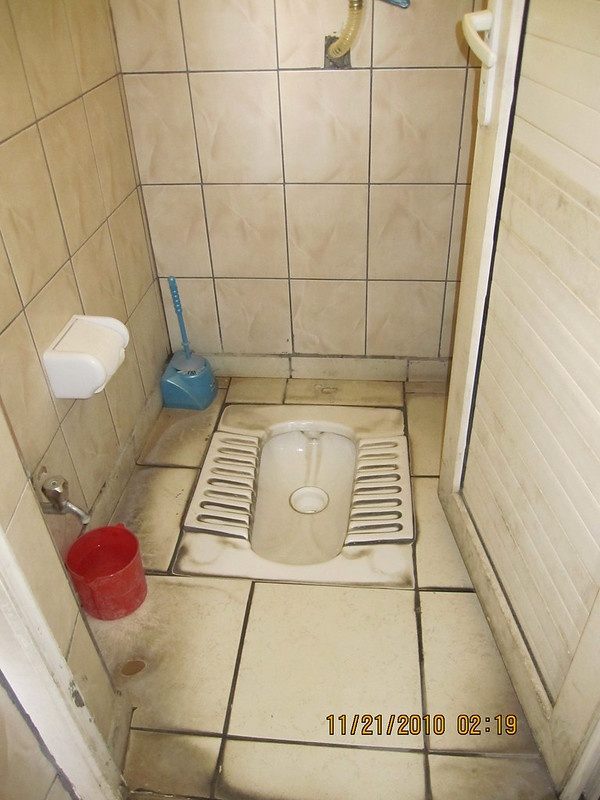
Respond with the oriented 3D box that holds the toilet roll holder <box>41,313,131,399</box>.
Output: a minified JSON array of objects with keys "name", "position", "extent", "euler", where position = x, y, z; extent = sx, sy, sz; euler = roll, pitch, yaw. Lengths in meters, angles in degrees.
[{"name":"toilet roll holder","position":[-0.524,-0.098,1.424],"extent":[0.152,0.181,0.207],"euler":[5,21,2]}]

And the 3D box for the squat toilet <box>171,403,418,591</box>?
[{"name":"squat toilet","position":[-0.006,0.402,1.959],"extent":[0.698,0.385,0.802],"euler":[4,38,2]}]

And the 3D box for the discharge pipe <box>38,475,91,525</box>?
[{"name":"discharge pipe","position":[-0.542,0.225,1.293],"extent":[0.072,0.109,0.175],"euler":[-10,25,-33]}]
